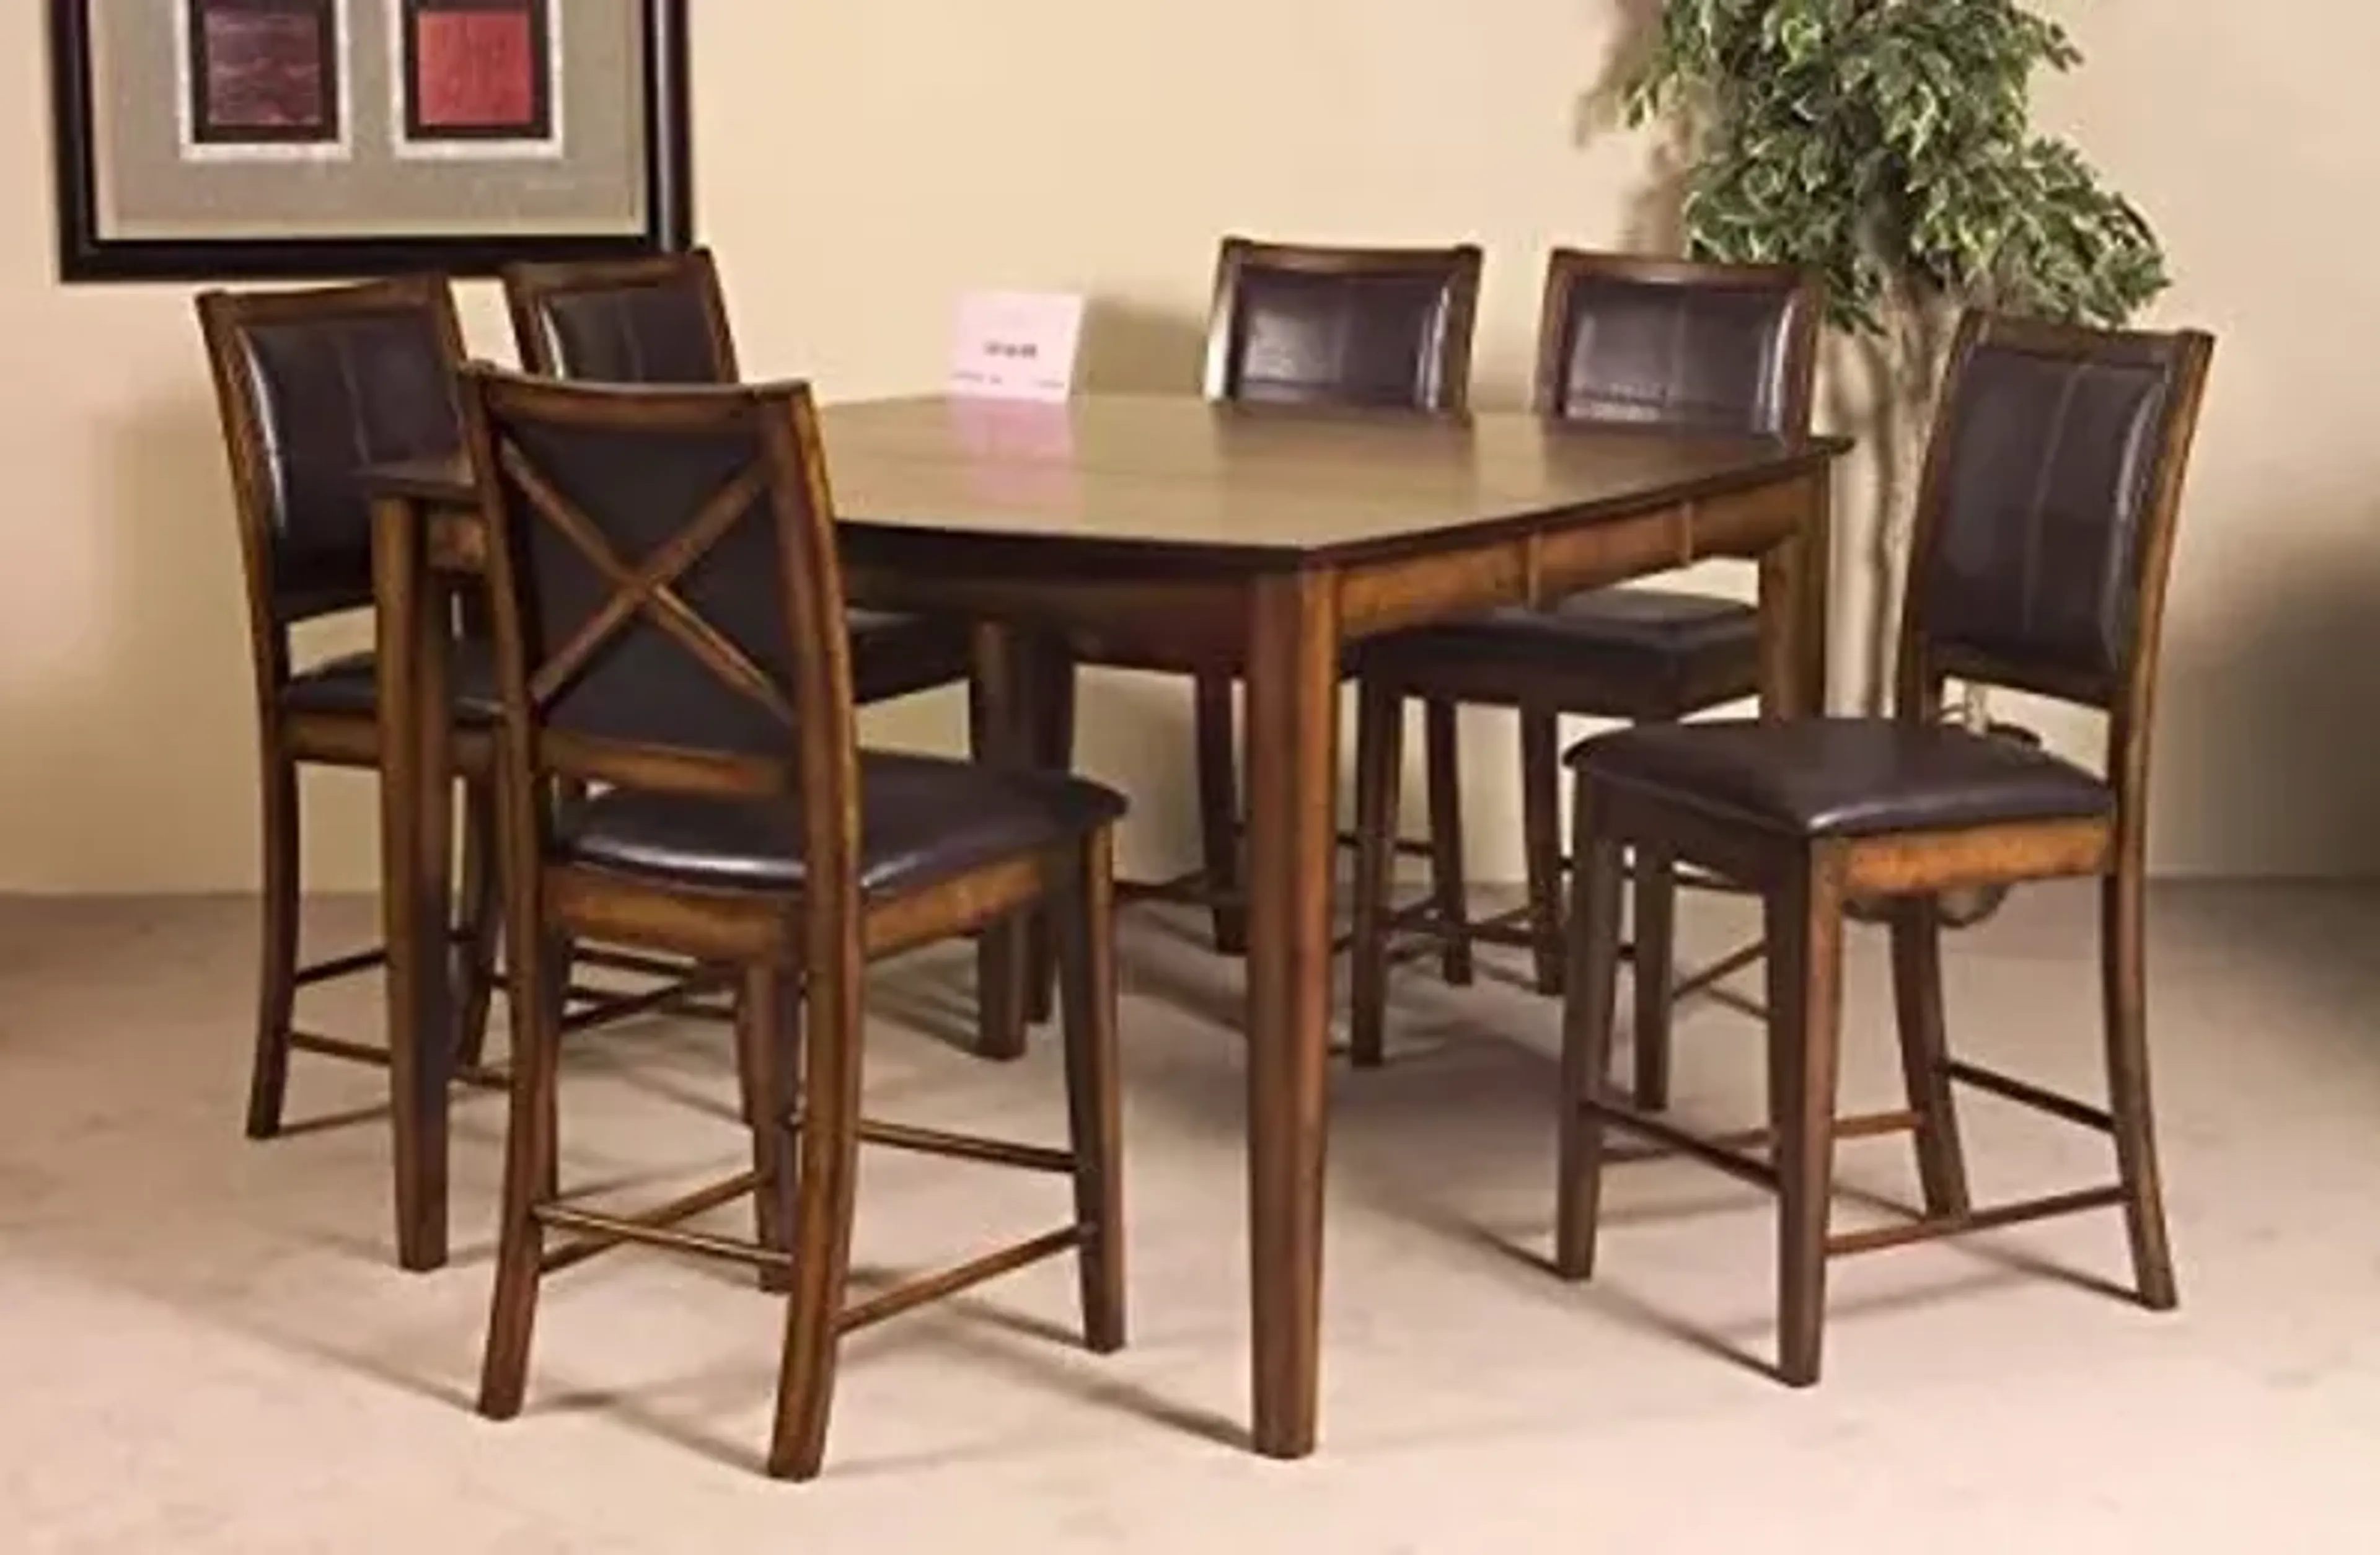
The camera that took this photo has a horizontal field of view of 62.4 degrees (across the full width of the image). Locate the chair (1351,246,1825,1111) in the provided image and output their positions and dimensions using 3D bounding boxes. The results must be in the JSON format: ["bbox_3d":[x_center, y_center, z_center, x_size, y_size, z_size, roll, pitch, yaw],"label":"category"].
[{"bbox_3d":[0.770,-0.202,3.859,0.928,1.482,0.727,-24,25,-24],"label":"chair"}]

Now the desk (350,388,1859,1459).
[{"bbox_3d":[-0.087,-0.190,3.178,1.788,1.162,2.322,3,6,32],"label":"desk"}]
